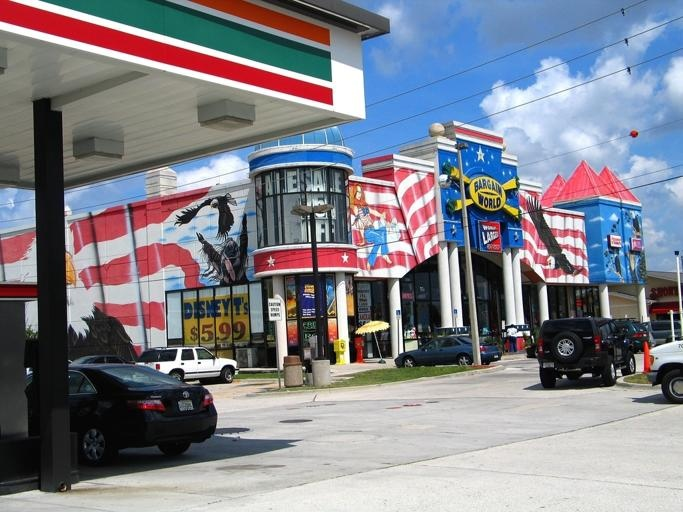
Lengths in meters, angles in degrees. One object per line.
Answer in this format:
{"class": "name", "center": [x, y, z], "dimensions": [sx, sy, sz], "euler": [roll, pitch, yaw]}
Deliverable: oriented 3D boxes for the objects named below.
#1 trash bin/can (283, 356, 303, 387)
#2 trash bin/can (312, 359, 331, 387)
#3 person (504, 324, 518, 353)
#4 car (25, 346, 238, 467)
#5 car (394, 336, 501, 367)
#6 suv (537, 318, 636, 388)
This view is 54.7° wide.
{"class": "trash bin/can", "center": [-2.090, 4.972, 28.210], "dimensions": [0.749, 1.316, 0.609], "euler": [-2, -11, -9]}
{"class": "trash bin/can", "center": [-0.881, 4.944, 27.904], "dimensions": [0.747, 1.118, 0.743], "euler": [-2, -11, -8]}
{"class": "person", "center": [13.510, 6.656, 52.626], "dimensions": [0.985, 2.106, 1.298], "euler": [-7, -11, 14]}
{"class": "car", "center": [-3.844, 2.919, 12.304], "dimensions": [2.506, 1.862, 1.186], "euler": [-6, -11, 12]}
{"class": "car", "center": [5.424, 5.140, 34.769], "dimensions": [4.550, 1.318, 2.146], "euler": [-2, -5, 23]}
{"class": "suv", "center": [8.332, 3.099, 22.509], "dimensions": [2.076, 1.553, 3.617], "euler": [-3, -2, 33]}
